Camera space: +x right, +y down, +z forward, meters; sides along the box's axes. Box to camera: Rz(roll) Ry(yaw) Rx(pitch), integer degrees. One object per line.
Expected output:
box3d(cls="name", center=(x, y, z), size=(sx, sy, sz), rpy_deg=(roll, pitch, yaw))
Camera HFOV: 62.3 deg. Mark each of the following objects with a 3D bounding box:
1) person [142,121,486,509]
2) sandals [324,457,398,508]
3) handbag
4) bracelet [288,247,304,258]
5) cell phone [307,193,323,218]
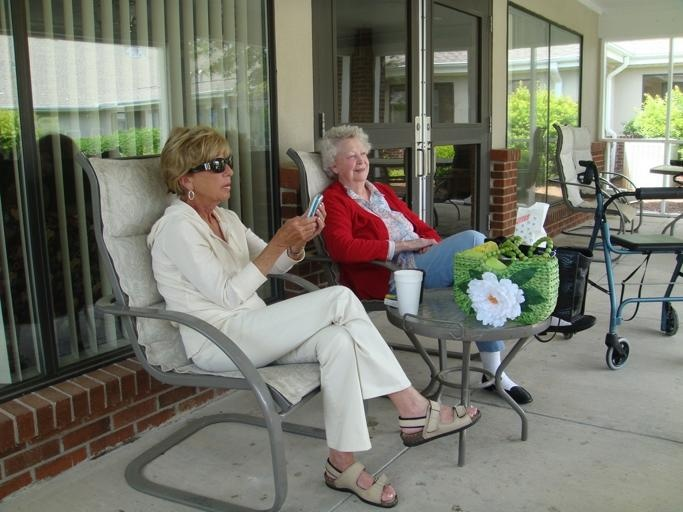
box3d(cls="person", center=(-0.221, 0.218, 2.430), size=(1.225, 1.571, 0.567), rpy_deg=(4, 16, 32))
box3d(cls="sandals", center=(0.086, 0.923, 2.356), size=(0.356, 0.120, 0.127), rpy_deg=(5, 21, 25))
box3d(cls="handbag", center=(0.901, 0.111, 2.625), size=(0.462, 0.361, 0.181), rpy_deg=(9, 18, 36))
box3d(cls="bracelet", center=(-0.210, -0.013, 2.756), size=(0.062, 0.058, 0.067), rpy_deg=(-4, -9, 44))
box3d(cls="cell phone", center=(-0.124, -0.239, 2.693), size=(0.045, 0.088, 0.209), rpy_deg=(36, 11, -4))
